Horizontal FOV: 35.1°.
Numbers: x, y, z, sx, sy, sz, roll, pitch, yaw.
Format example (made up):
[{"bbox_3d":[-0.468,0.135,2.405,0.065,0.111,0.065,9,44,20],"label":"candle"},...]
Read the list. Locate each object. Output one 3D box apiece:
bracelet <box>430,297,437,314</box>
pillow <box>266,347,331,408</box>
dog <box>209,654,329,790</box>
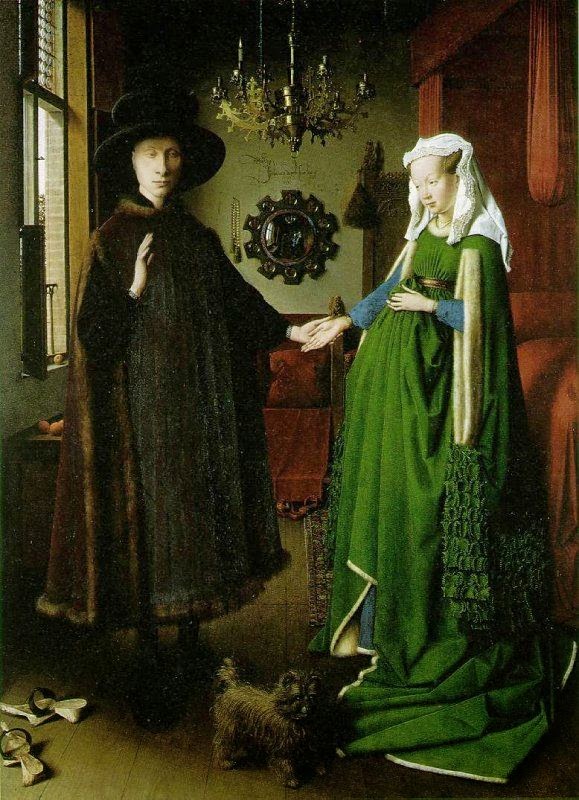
[{"bbox_3d":[0.354,-0.232,2.246,0.022,0.025,0.008,0,-13,17],"label":"bracelet"},{"bbox_3d":[0.037,-0.051,2.441,0.180,0.149,0.173,-6,-12,40],"label":"pillow"},{"bbox_3d":[-0.031,0.765,2.220,0.211,0.226,0.324,0,-8,-44],"label":"dog"}]
